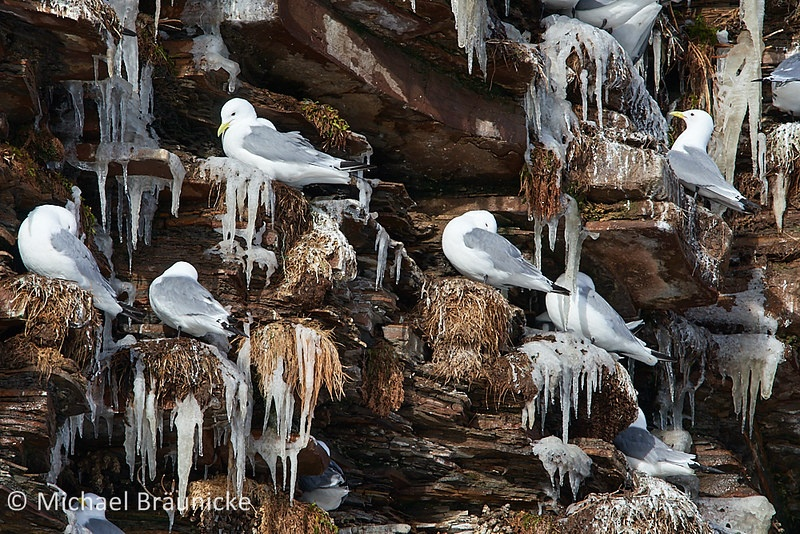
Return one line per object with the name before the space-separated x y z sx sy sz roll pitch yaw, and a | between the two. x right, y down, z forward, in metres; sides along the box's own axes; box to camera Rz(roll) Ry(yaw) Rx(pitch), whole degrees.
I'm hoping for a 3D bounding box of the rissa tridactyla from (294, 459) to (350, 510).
rissa tridactyla | -1.099 2.962 22.474 0.426 0.535 0.697 -23 -44 16
